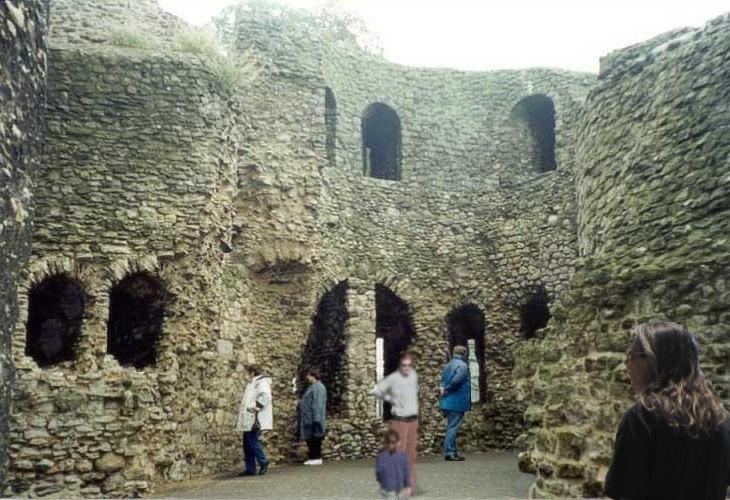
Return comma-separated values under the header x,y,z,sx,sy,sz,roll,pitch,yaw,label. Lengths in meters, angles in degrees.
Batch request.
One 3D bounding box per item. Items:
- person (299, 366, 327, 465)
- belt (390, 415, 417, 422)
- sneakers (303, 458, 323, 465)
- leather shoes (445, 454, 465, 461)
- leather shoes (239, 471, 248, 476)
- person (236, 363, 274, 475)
x,y,z,sx,sy,sz,roll,pitch,yaw,label
-0.952,3.050,14.199,0.443,1.665,1.254,2,-14,-5,person
0.537,2.301,10.714,0.337,0.093,0.205,-2,-15,11,belt
-0.937,3.825,14.086,0.269,0.111,0.149,5,-13,0,sneakers
1.620,3.689,13.889,0.336,0.140,0.157,0,-4,-4,leather shoes
-1.982,3.639,12.720,0.176,0.075,0.060,4,-16,4,leather shoes
-1.815,2.774,12.683,0.533,1.706,0.553,8,-15,-26,person
